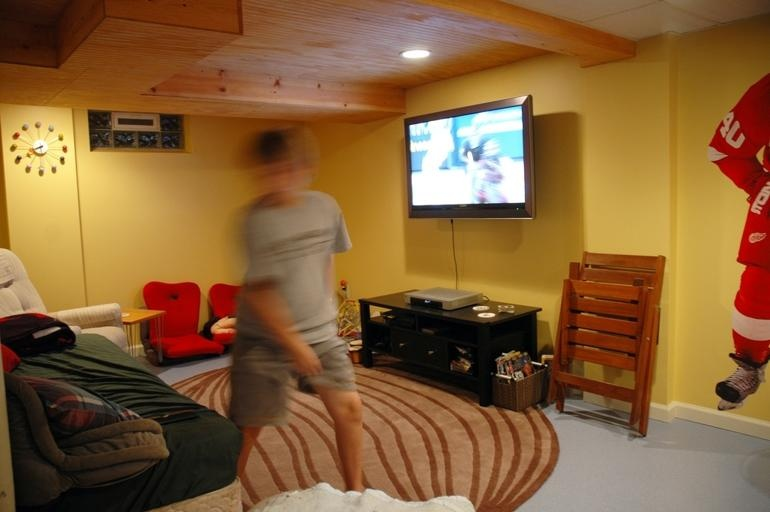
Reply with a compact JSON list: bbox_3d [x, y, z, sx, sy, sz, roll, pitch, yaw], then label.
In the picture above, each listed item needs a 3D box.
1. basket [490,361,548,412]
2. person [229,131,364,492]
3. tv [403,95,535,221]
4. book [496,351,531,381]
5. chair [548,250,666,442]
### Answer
[{"bbox_3d":[1.124,1.084,4.567,0.472,0.254,0.272,-8,8,-39],"label":"basket"},{"bbox_3d":[-0.474,0.330,3.095,0.740,2.041,0.406,2,12,-14],"label":"person"},{"bbox_3d":[0.803,-0.890,4.979,1.414,0.909,0.142,1,8,42],"label":"tv"},{"bbox_3d":[1.066,0.898,4.486,0.197,0.073,0.269,11,18,43],"label":"book"},{"bbox_3d":[1.738,0.624,4.266,0.807,1.327,0.520,11,13,29],"label":"chair"}]
